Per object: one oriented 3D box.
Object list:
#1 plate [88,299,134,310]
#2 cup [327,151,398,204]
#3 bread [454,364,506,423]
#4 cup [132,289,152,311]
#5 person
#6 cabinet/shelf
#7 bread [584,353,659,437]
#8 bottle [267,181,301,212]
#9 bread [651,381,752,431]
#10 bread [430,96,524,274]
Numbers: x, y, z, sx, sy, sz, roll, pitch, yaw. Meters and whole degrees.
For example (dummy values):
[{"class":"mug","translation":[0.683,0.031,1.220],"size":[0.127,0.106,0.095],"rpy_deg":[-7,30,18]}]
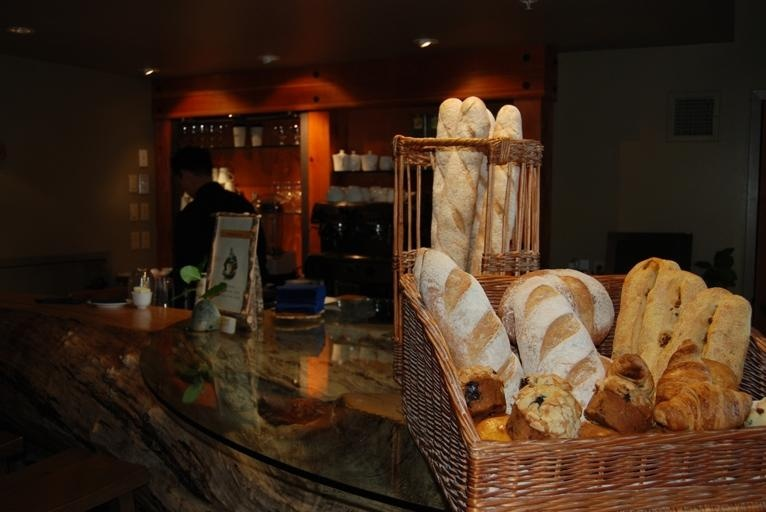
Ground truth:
[{"class":"plate","translation":[-1.249,0.216,2.622],"size":[0.199,0.027,0.161],"rpy_deg":[-1,4,-3]},{"class":"cup","translation":[-0.172,-0.633,4.604],"size":[0.515,0.434,0.506],"rpy_deg":[-1,5,0]},{"class":"bread","translation":[0.188,0.253,1.082],"size":[0.076,0.102,0.037],"rpy_deg":[-14,-4,-12]},{"class":"cup","translation":[-1.062,0.191,2.586],"size":[0.084,0.092,0.084],"rpy_deg":[-2,-8,0]},{"class":"person","translation":[-0.930,-0.241,3.267],"size":[0.459,0.901,1.578],"rpy_deg":[-3,5,-20]},{"class":"cabinet/shelf","translation":[-0.486,-0.418,3.941],"size":[1.483,1.450,0.489],"rpy_deg":[0,0,22]},{"class":"bread","translation":[0.437,0.237,1.041],"size":[0.116,0.135,0.053],"rpy_deg":[6,-4,4]},{"class":"bottle","translation":[-0.801,-0.531,5.012],"size":[0.268,0.269,0.070],"rpy_deg":[1,-1,22]},{"class":"bread","translation":[0.572,0.271,1.034],"size":[0.142,0.056,0.077],"rpy_deg":[0,-5,-23]},{"class":"bread","translation":[0.256,-0.193,1.647],"size":[0.246,0.523,0.123],"rpy_deg":[3,4,-25]}]
